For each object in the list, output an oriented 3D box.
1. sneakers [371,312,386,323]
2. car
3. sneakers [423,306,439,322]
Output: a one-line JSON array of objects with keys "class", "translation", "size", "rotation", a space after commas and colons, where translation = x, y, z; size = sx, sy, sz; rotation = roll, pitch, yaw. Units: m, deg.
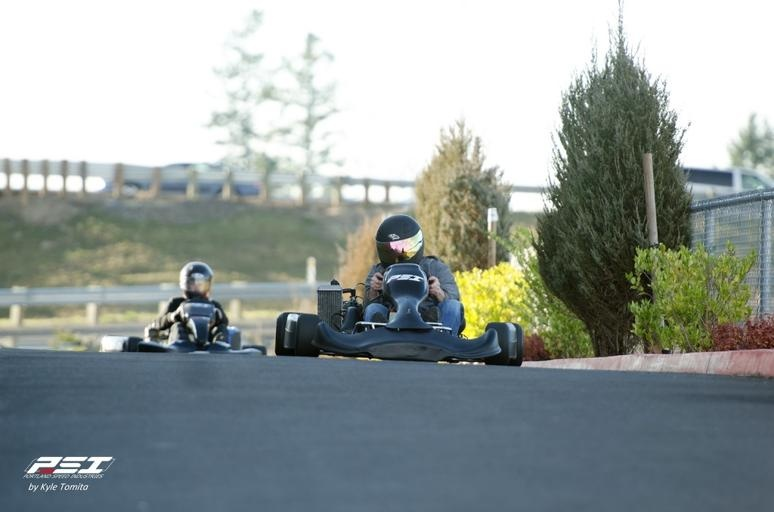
[{"class": "sneakers", "translation": [-0.106, 0.789, 19.841], "size": [0.166, 0.135, 0.221], "rotation": [10, 4, 5]}, {"class": "car", "translation": [-6.242, -2.448, 47.600], "size": [4.374, 1.231, 1.447], "rotation": [2, 11, 4]}, {"class": "sneakers", "translation": [0.570, 0.761, 20.207], "size": [0.194, 0.171, 0.193], "rotation": [6, 12, 21]}]
